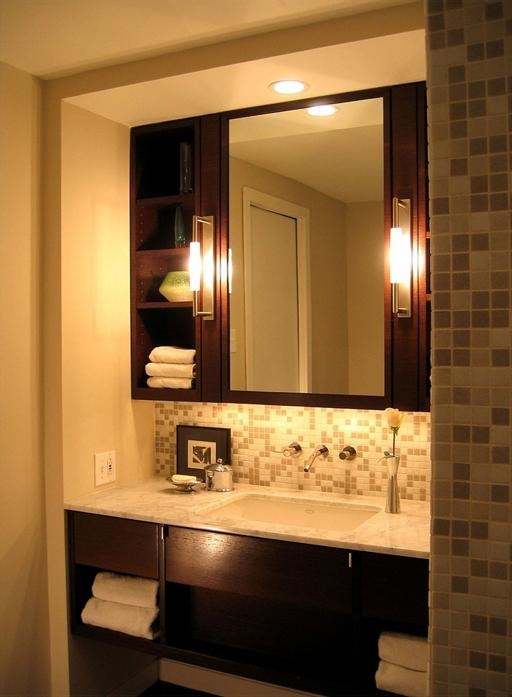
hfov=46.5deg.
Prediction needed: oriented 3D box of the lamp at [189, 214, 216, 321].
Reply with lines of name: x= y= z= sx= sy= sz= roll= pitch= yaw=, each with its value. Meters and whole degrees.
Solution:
lamp: x=-0.221 y=-0.285 z=2.112 sx=0.134 sy=0.370 sz=0.119 roll=1 pitch=2 yaw=41

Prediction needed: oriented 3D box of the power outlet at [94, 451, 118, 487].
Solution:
power outlet: x=-0.557 y=0.445 z=2.202 sx=0.013 sy=0.145 sz=0.131 roll=1 pitch=1 yaw=25

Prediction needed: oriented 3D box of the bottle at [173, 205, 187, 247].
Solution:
bottle: x=-0.285 y=-0.462 z=2.262 sx=0.044 sy=0.159 sz=0.045 roll=-1 pitch=2 yaw=0

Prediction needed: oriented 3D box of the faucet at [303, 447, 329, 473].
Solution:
faucet: x=0.198 y=0.383 z=2.043 sx=0.062 sy=0.065 sz=0.113 roll=-11 pitch=14 yaw=32

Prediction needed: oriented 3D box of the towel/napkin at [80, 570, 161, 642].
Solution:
towel/napkin: x=-0.435 y=0.822 z=1.955 sx=0.214 sy=0.088 sz=0.174 roll=3 pitch=8 yaw=19

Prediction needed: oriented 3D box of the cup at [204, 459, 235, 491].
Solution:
cup: x=-0.134 y=0.477 z=2.228 sx=0.082 sy=0.113 sz=0.096 roll=-1 pitch=-6 yaw=5

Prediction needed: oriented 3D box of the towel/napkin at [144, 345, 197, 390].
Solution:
towel/napkin: x=-0.319 y=0.076 z=2.231 sx=0.148 sy=0.092 sz=0.157 roll=1 pitch=0 yaw=9

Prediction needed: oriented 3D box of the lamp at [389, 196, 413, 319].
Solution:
lamp: x=0.420 y=-0.271 z=1.784 sx=0.061 sy=0.360 sz=0.096 roll=1 pitch=2 yaw=43

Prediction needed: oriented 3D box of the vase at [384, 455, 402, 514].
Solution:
vase: x=0.433 y=0.417 z=1.902 sx=0.044 sy=0.187 sz=0.139 roll=0 pitch=2 yaw=13

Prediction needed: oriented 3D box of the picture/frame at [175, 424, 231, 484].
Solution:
picture/frame: x=-0.197 y=0.412 z=2.302 sx=0.165 sy=0.198 sz=0.009 roll=-3 pitch=-5 yaw=24

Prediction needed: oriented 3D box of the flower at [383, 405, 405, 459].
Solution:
flower: x=0.442 y=0.272 z=1.920 sx=0.050 sy=0.189 sz=0.262 roll=0 pitch=2 yaw=14

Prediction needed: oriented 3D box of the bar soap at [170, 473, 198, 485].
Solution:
bar soap: x=-0.252 y=0.473 z=2.145 sx=0.106 sy=0.030 sz=0.081 roll=0 pitch=3 yaw=28
